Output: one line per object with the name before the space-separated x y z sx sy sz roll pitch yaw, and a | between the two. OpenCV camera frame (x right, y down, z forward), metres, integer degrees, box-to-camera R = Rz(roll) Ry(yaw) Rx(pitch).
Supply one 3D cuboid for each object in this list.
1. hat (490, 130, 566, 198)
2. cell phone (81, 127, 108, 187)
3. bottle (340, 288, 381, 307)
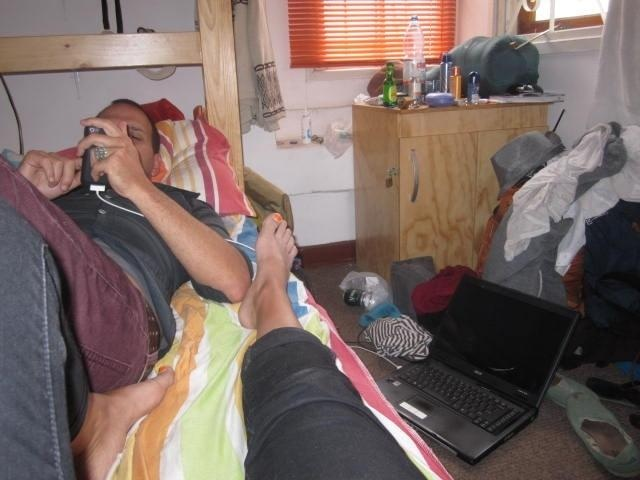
hat | 0.941 -0.343 2.243 0.296 0.255 0.191 1 20 16
cell phone | -0.654 -0.234 1.428 0.083 0.171 0.039 -1 6 -14
bottle | 0.204 0.302 2.571 0.175 0.110 0.107 11 18 34
